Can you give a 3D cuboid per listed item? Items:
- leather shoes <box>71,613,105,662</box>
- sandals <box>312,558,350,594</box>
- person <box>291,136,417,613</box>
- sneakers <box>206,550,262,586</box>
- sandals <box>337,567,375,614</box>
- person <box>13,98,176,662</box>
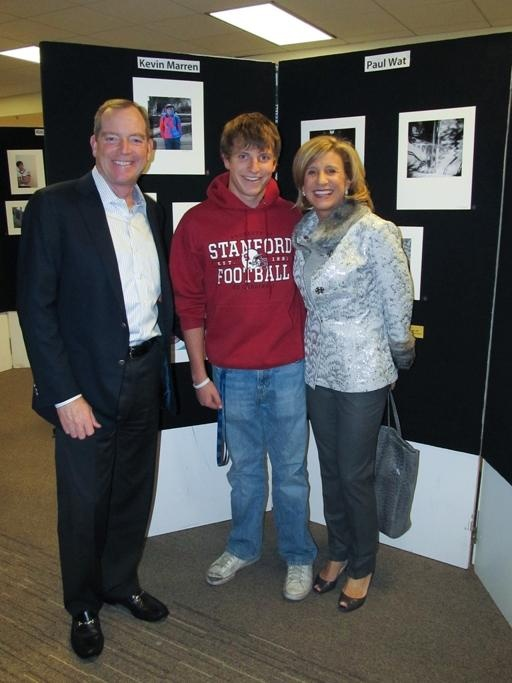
[{"bbox_3d":[-0.530,0.912,1.729,0.092,0.066,0.187,3,9,-23],"label":"leather shoes"},{"bbox_3d":[0.293,0.878,2.093,0.066,0.081,0.194,-3,-3,33],"label":"sandals"},{"bbox_3d":[0.315,0.143,1.880,0.404,1.606,0.323,2,9,14],"label":"person"},{"bbox_3d":[-0.104,0.872,2.164,0.067,0.072,0.184,10,11,39],"label":"sneakers"},{"bbox_3d":[0.349,0.874,1.961,0.060,0.071,0.173,1,13,29],"label":"sandals"},{"bbox_3d":[-0.447,0.212,1.723,0.239,1.493,0.499,5,10,31],"label":"person"}]
